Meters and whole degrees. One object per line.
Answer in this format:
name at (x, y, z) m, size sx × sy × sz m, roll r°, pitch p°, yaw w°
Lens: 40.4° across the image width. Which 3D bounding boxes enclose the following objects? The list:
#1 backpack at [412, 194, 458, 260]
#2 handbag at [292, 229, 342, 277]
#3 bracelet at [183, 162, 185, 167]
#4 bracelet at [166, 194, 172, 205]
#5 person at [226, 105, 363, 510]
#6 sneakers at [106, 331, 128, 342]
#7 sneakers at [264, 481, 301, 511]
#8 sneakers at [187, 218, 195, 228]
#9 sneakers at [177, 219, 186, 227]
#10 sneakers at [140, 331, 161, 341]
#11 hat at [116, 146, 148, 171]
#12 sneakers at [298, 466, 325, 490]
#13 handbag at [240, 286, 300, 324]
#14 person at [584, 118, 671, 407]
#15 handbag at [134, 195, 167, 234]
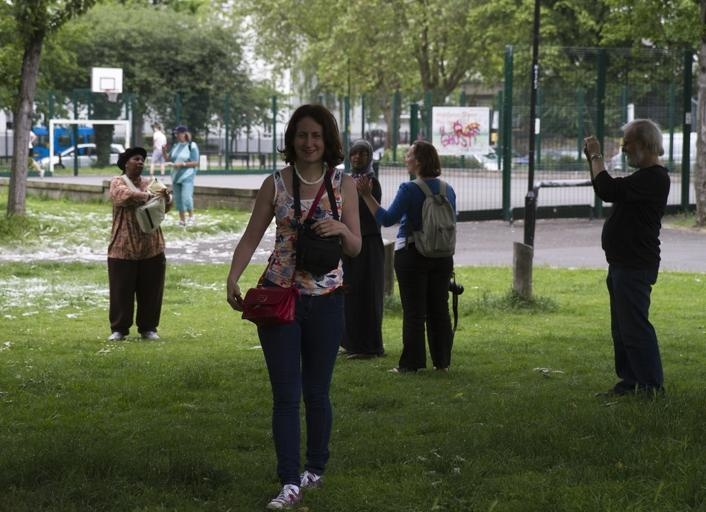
backpack at (0.903, -0.310, 10.239) m, size 0.441 × 0.663 × 0.349 m, roll -2°, pitch 1°, yaw -33°
handbag at (-0.295, -0.101, 7.930) m, size 0.415 × 0.468 × 0.240 m, roll 6°, pitch 14°, yaw 11°
bracelet at (-3.620, -1.954, 20.708) m, size 0.057 × 0.064 × 0.062 m, roll -11°, pitch 18°, yaw -23°
bracelet at (-2.282, -0.708, 11.871) m, size 0.031 × 0.096 × 0.095 m, roll 5°, pitch -10°, yaw 4°
person at (-0.452, 0.390, 7.929) m, size 1.035 × 3.268 × 0.580 m, roll 0°, pitch 5°, yaw -4°
sneakers at (-2.894, 0.992, 11.860) m, size 0.090 × 0.091 × 0.198 m, roll -2°, pitch -8°, yaw 41°
sneakers at (-0.562, 1.957, 7.823) m, size 0.122 × 0.147 × 0.354 m, roll 2°, pitch -1°, yaw 29°
sneakers at (-3.617, -0.749, 21.458) m, size 0.125 × 0.167 × 0.364 m, roll -1°, pitch 4°, yaw -2°
sneakers at (-3.771, -0.704, 21.100) m, size 0.177 × 0.164 × 0.137 m, roll 10°, pitch 42°, yaw -31°
sneakers at (-2.511, 0.988, 11.946) m, size 0.250 × 0.116 × 0.096 m, roll -2°, pitch 14°, yaw 18°
hat at (-2.726, -1.226, 11.704) m, size 0.295 × 0.085 × 0.277 m, roll -36°, pitch -24°, yaw 20°
sneakers at (-0.359, 1.866, 8.018) m, size 0.102 × 0.094 × 0.188 m, roll -2°, pitch -6°, yaw 32°
handbag at (-0.689, 0.396, 7.901) m, size 0.460 × 0.346 × 0.193 m, roll -5°, pitch -29°, yaw 33°
person at (2.689, 0.033, 9.415) m, size 0.740 × 2.711 × 0.480 m, roll 2°, pitch 5°, yaw 16°
handbag at (-2.456, -0.511, 11.566) m, size 0.177 × 0.298 × 0.346 m, roll 8°, pitch 32°, yaw 19°
